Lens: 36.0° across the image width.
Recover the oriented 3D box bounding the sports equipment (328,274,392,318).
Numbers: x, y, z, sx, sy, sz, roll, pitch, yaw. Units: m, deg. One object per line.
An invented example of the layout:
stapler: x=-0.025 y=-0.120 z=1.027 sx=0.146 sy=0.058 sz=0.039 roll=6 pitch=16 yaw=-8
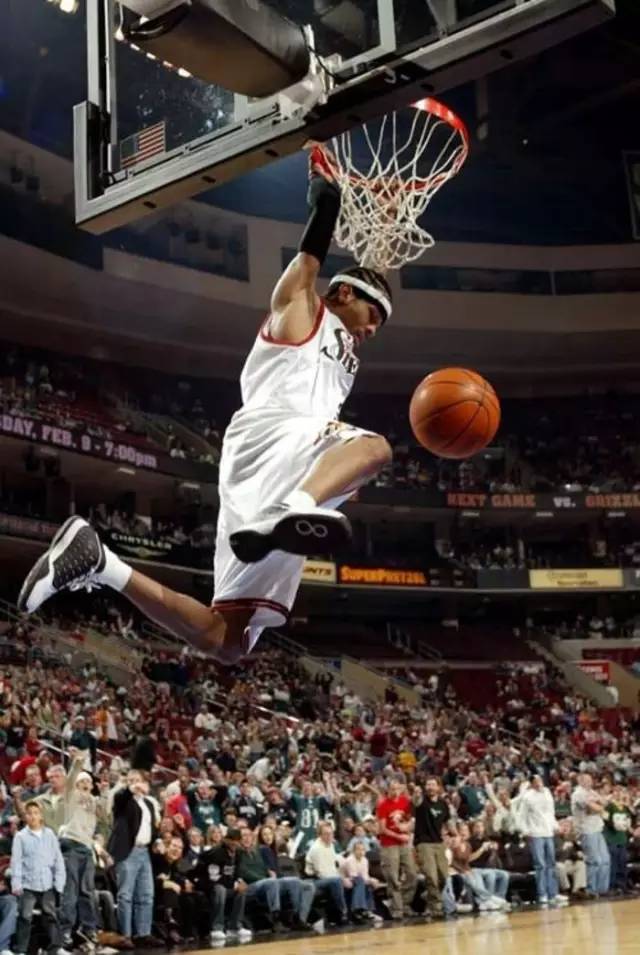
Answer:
sports equipment: x=0.156 y=-0.695 z=3.656 sx=0.211 sy=0.055 sz=0.170 roll=27 pitch=10 yaw=4

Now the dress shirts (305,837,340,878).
dress shirts: x=0.018 y=3.339 z=8.648 sx=0.226 sy=0.274 sz=0.359 roll=-14 pitch=-15 yaw=24

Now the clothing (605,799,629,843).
clothing: x=3.158 y=3.679 z=10.496 sx=0.241 sy=0.498 sz=0.316 roll=0 pitch=-5 yaw=15

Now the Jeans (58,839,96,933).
Jeans: x=-1.727 y=2.939 z=7.017 sx=0.204 sy=0.625 sz=0.296 roll=-33 pitch=-40 yaw=23

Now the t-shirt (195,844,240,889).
t-shirt: x=-0.816 y=3.096 z=7.836 sx=0.320 sy=0.349 sz=0.118 roll=2 pitch=-5 yaw=-15

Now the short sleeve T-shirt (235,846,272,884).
short sleeve T-shirt: x=-0.561 y=3.199 z=8.127 sx=0.178 sy=0.254 sz=0.291 roll=-18 pitch=-19 yaw=32

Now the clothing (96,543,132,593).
clothing: x=-0.703 y=0.326 z=3.378 sx=0.072 sy=0.090 sz=0.283 roll=31 pitch=0 yaw=-28

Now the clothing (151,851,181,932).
clothing: x=-1.176 y=3.208 z=7.611 sx=0.148 sy=0.632 sz=0.234 roll=-3 pitch=-6 yaw=38

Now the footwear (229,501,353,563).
footwear: x=-0.076 y=0.166 z=2.867 sx=0.393 sy=0.138 sz=0.168 roll=-7 pitch=16 yaw=13

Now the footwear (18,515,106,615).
footwear: x=-0.874 y=0.293 z=3.351 sx=0.271 sy=0.320 sz=0.265 roll=2 pitch=-5 yaw=-16

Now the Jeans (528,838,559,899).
Jeans: x=2.227 y=3.845 z=9.797 sx=0.251 sy=0.653 sz=0.453 roll=0 pitch=-5 yaw=14

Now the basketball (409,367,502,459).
basketball: x=0.572 y=-0.292 z=4.232 sx=0.373 sy=0.432 sz=0.481 roll=0 pitch=-4 yaw=7

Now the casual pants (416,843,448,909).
casual pants: x=1.103 y=3.690 z=9.033 sx=0.238 sy=0.561 sz=0.287 roll=15 pitch=-29 yaw=-40

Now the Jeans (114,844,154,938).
Jeans: x=-1.381 y=3.074 z=7.321 sx=0.297 sy=0.640 sz=0.222 roll=24 pitch=-44 yaw=-36

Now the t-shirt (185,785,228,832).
t-shirt: x=-1.033 y=2.947 z=8.930 sx=0.331 sy=0.440 sz=0.514 roll=1 pitch=-4 yaw=-5

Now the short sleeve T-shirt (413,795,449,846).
short sleeve T-shirt: x=1.024 y=3.146 z=9.147 sx=0.299 sy=0.444 sz=0.524 roll=0 pitch=-4 yaw=5

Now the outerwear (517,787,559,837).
outerwear: x=2.131 y=3.301 z=9.726 sx=0.362 sy=0.470 sz=0.301 roll=0 pitch=-5 yaw=11

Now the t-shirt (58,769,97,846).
t-shirt: x=-1.728 y=2.491 z=7.187 sx=0.244 sy=0.682 sz=0.186 roll=30 pitch=-63 yaw=-26

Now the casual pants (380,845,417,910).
casual pants: x=0.726 y=3.658 z=9.042 sx=0.219 sy=0.703 sz=0.524 roll=-1 pitch=-5 yaw=22

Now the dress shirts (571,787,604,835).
dress shirts: x=2.722 y=3.409 z=10.068 sx=0.284 sy=0.529 sz=0.410 roll=-1 pitch=-5 yaw=15

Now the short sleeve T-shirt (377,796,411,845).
short sleeve T-shirt: x=0.660 y=3.120 z=8.988 sx=0.284 sy=0.436 sz=0.343 roll=1 pitch=-5 yaw=3
